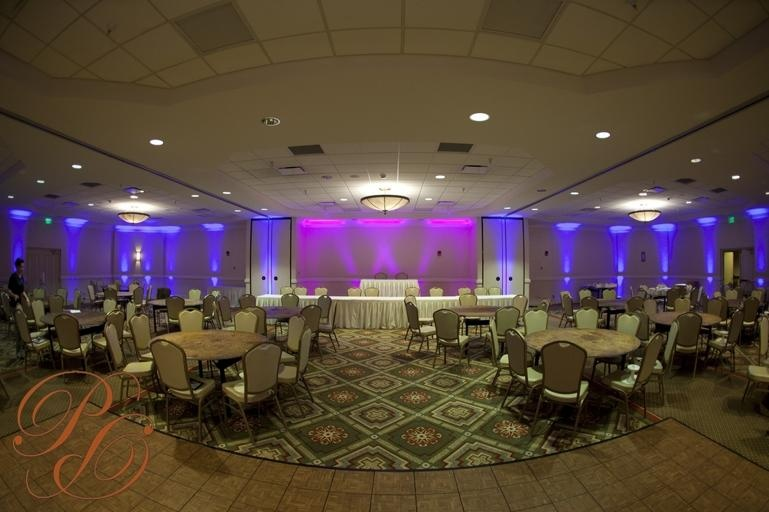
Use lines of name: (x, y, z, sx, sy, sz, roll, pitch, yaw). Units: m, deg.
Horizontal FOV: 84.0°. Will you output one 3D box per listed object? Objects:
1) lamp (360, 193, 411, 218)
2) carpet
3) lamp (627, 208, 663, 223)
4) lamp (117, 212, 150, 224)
lamp: (0.045, -1.261, 10.178, 0.717, 0.206, 0.679, 3, -10, -18)
carpet: (0.629, 2.130, 6.310, 9.795, 0.314, 2.679, 0, 12, 1)
lamp: (7.303, -1.115, 11.985, 0.641, 0.389, 0.941, 6, 13, 27)
lamp: (-7.251, -1.100, 12.372, 0.735, 0.239, 0.734, -5, -7, 32)
